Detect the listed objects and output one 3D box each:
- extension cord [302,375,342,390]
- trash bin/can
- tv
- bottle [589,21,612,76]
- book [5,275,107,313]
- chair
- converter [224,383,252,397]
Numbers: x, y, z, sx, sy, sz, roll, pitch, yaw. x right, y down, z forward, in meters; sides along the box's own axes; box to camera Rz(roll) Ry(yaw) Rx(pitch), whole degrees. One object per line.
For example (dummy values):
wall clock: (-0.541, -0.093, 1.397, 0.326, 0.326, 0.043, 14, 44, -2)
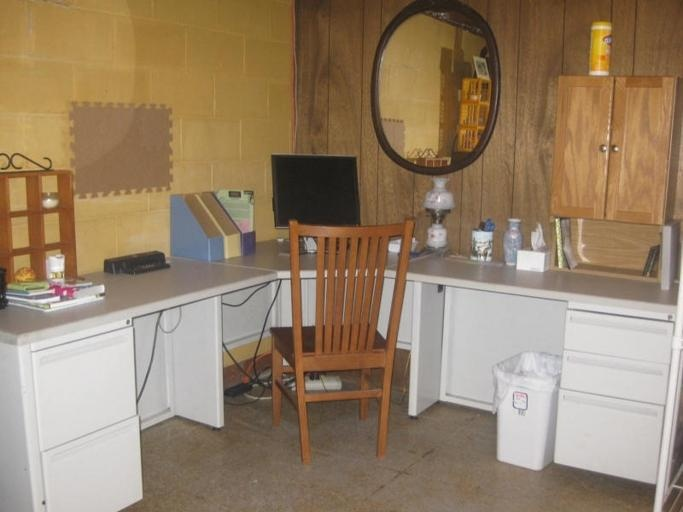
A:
extension cord: (-0.105, 0.748, 3.491, 0.158, 0.065, 0.128, 2, 6, 3)
trash bin/can: (0.935, 0.772, 3.045, 0.317, 0.473, 0.390, 6, 14, 21)
tv: (-0.138, -0.306, 3.388, 0.538, 0.562, 0.201, 2, -12, -9)
bottle: (1.321, -1.055, 3.047, 0.103, 0.261, 0.185, 6, 15, 23)
book: (-1.204, 0.167, 2.486, 0.381, 0.084, 0.180, -2, 14, -11)
chair: (-0.004, 0.374, 3.070, 0.666, 1.216, 0.717, -7, 15, -28)
converter: (-0.622, 0.818, 3.619, 0.068, 0.025, 0.099, 8, 11, 38)
